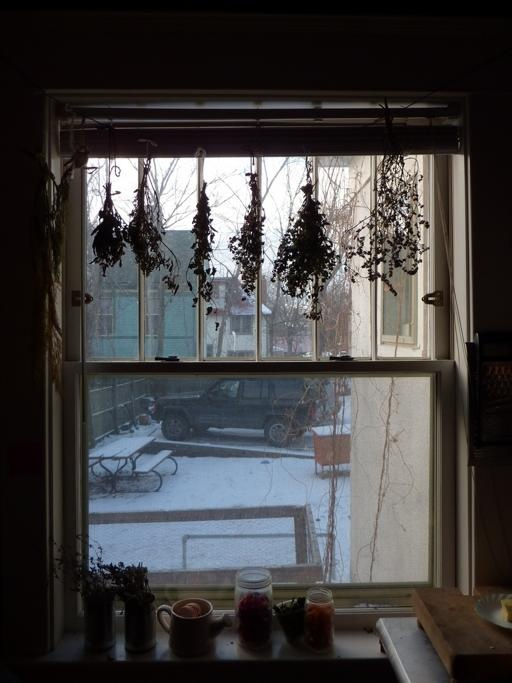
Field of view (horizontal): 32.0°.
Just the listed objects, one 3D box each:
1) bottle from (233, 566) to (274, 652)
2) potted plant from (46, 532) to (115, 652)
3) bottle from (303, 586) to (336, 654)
[{"bbox_3d":[-0.004,0.734,2.446,0.103,0.187,0.146,1,3,1],"label":"bottle"},{"bbox_3d":[-0.431,0.707,2.428,0.115,0.256,0.139,-21,-25,35],"label":"potted plant"},{"bbox_3d":[0.180,0.754,2.402,0.101,0.151,0.094,1,3,0],"label":"bottle"}]
